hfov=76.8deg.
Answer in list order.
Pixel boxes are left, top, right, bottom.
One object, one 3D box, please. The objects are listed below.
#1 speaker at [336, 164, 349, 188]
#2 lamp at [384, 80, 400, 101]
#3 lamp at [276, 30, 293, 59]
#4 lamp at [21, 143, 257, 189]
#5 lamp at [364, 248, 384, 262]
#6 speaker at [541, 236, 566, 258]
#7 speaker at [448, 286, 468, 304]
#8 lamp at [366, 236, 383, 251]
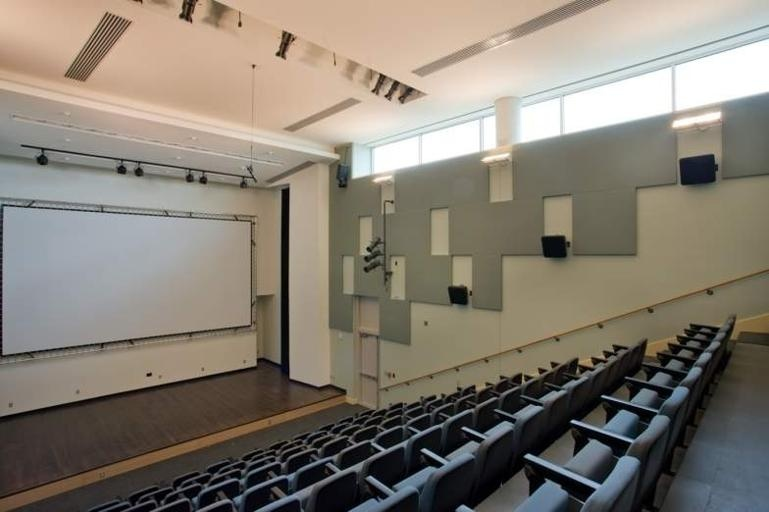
[{"bbox_3d":[-1.244,-2.308,13.842,0.286,0.727,0.476,-3,3,-40],"label":"speaker"},{"bbox_3d":[0.160,-3.569,10.420,0.209,0.396,0.386,35,49,10],"label":"lamp"},{"bbox_3d":[-1.820,-3.871,8.907,0.246,0.457,0.171,8,32,-19],"label":"lamp"},{"bbox_3d":[-6.431,-2.390,13.265,5.591,0.673,1.043,-2,2,-37],"label":"lamp"},{"bbox_3d":[-0.288,-0.009,12.986,0.647,0.229,0.261,-13,-23,-5],"label":"lamp"},{"bbox_3d":[3.488,-0.181,10.010,0.526,0.485,0.302,0,2,22],"label":"speaker"},{"bbox_3d":[1.698,0.911,11.263,0.384,0.378,0.203,0,11,40],"label":"speaker"},{"bbox_3d":[-0.293,-0.313,12.985,0.431,0.215,0.268,-30,11,5],"label":"lamp"}]
